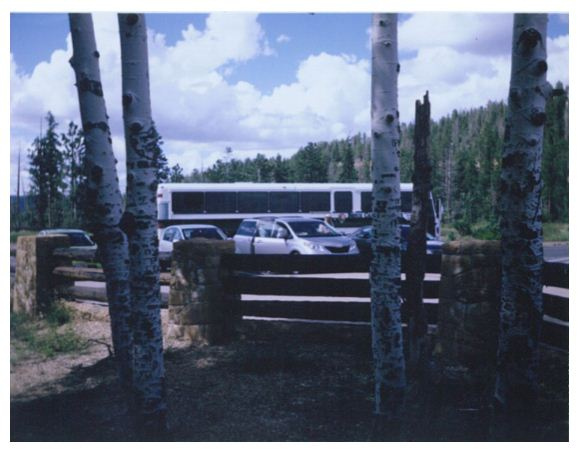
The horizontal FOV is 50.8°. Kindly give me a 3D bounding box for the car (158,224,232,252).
[{"bbox_3d":[-3.213,0.271,18.960,1.180,1.053,1.834,0,-7,-39],"label":"car"}]

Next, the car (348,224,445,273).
[{"bbox_3d":[3.222,0.485,17.507,2.299,1.284,1.491,-2,0,-9],"label":"car"}]

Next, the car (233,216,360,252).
[{"bbox_3d":[0.039,0.284,17.887,1.523,1.169,2.776,1,-4,-39],"label":"car"}]

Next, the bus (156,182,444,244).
[{"bbox_3d":[-0.272,-0.467,19.731,6.710,2.361,2.045,-1,2,-11],"label":"bus"}]
